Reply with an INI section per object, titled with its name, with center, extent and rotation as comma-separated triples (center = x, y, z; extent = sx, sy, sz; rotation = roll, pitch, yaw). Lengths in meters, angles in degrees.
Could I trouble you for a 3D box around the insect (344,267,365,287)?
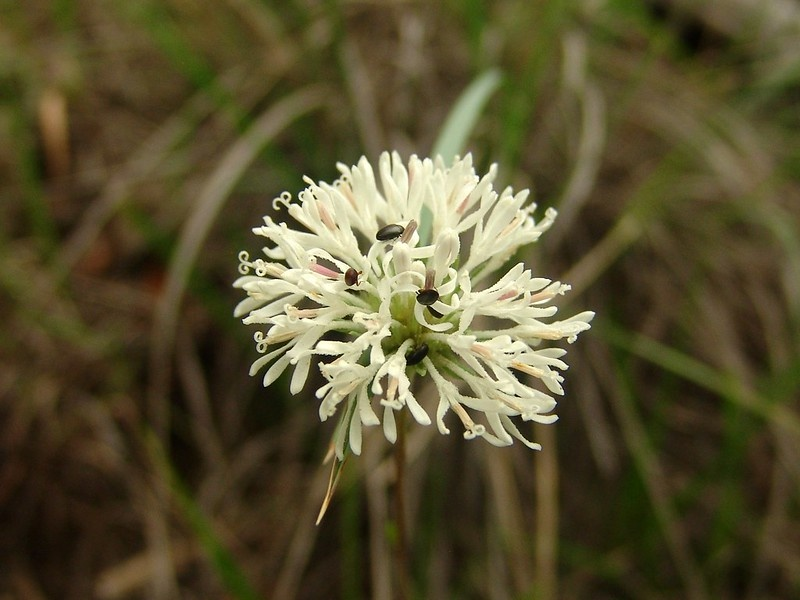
[insect]
center = -0.118, -0.065, 2.059
extent = 0.042, 0.044, 0.062
rotation = 0, 33, -6
